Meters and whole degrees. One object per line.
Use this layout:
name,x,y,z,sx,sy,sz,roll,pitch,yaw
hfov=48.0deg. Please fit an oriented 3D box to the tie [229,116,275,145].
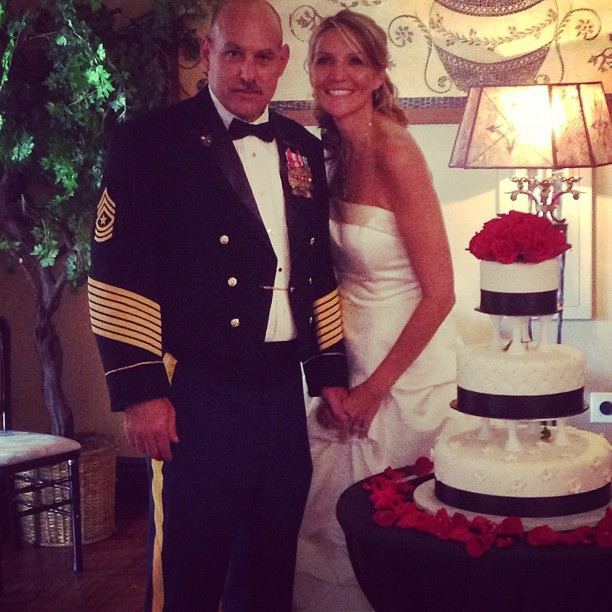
tie,-0.157,-0.498,1.952,0.135,0.064,0.023,-5,10,-36

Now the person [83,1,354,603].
person,-0.204,0.036,1.939,0.745,1.281,0.286,-11,5,-42
